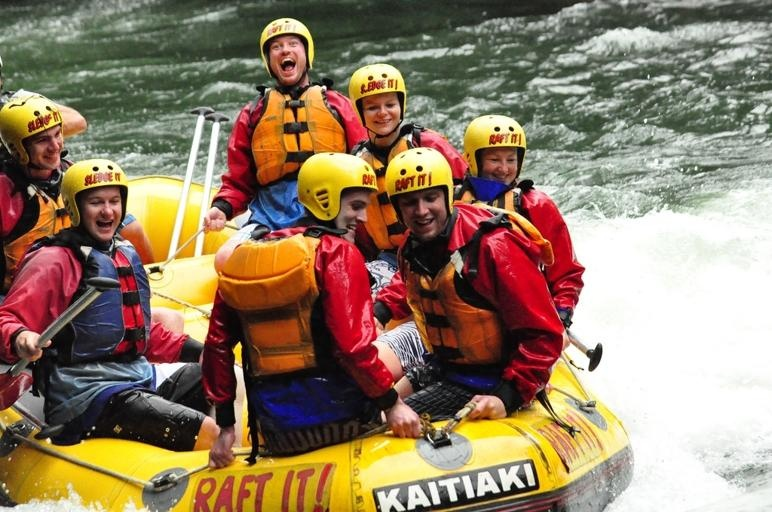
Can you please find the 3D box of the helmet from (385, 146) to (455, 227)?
[{"bbox_3d":[0.225,-0.462,5.986,0.466,0.460,0.552,-5,1,9],"label":"helmet"}]

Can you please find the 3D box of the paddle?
[{"bbox_3d":[-2.167,0.581,6.024,1.066,0.302,0.259,-43,5,2],"label":"paddle"}]

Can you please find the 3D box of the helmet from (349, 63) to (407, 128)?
[{"bbox_3d":[-0.052,-1.264,7.231,0.455,0.469,0.513,-12,14,-11],"label":"helmet"}]

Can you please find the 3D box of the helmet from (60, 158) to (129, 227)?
[{"bbox_3d":[-2.047,-0.439,6.380,0.430,0.406,0.479,-8,3,-17],"label":"helmet"}]

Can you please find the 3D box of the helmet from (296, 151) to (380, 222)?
[{"bbox_3d":[-0.276,-0.459,5.818,0.577,0.390,0.412,0,10,28],"label":"helmet"}]

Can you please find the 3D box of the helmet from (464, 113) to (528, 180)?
[{"bbox_3d":[0.754,-0.870,6.833,0.675,0.464,0.480,-8,15,8],"label":"helmet"}]
